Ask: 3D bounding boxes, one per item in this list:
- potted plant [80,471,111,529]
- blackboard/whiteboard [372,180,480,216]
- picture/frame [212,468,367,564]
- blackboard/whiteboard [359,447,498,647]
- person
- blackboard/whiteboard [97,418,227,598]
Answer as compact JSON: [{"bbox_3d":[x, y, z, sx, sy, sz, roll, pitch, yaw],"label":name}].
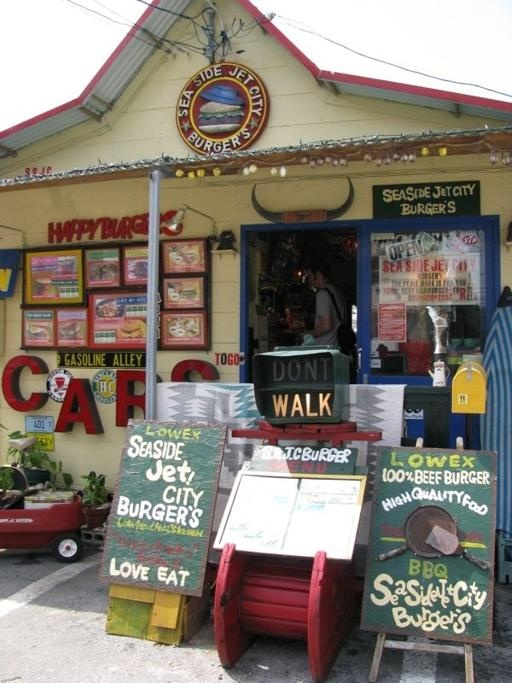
[{"bbox_3d":[-1.395,1.400,5.767,0.175,0.507,0.256,0,6,-21],"label":"potted plant"},{"bbox_3d":[1.478,-1.209,5.735,0.891,0.289,0.031,1,4,19],"label":"blackboard/whiteboard"},{"bbox_3d":[0.213,0.921,3.563,0.686,0.458,0.192,-2,-38,23],"label":"picture/frame"},{"bbox_3d":[0.919,1.029,3.475,0.634,0.838,0.512,1,4,21],"label":"blackboard/whiteboard"},{"bbox_3d":[0.684,-0.376,6.938,0.425,0.967,0.469,4,6,8],"label":"person"},{"bbox_3d":[-0.561,0.964,3.959,0.676,0.846,0.497,0,4,16],"label":"blackboard/whiteboard"}]
